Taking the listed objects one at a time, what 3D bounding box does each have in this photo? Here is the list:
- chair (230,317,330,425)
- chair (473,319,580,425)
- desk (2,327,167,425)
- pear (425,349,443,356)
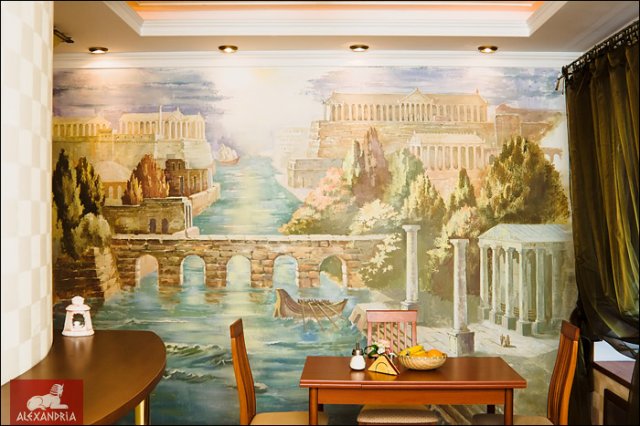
[{"bbox_3d":[-0.276,1.340,4.611,0.884,1.440,0.826,-2,-4,0],"label":"chair"},{"bbox_3d":[1.823,1.336,4.643,0.897,1.414,0.779,1,-6,10],"label":"chair"},{"bbox_3d":[-1.432,1.037,3.329,0.622,0.216,0.939,0,4,-12],"label":"desk"},{"bbox_3d":[0.897,1.092,3.932,0.106,0.056,0.086,-1,4,11],"label":"pear"}]
